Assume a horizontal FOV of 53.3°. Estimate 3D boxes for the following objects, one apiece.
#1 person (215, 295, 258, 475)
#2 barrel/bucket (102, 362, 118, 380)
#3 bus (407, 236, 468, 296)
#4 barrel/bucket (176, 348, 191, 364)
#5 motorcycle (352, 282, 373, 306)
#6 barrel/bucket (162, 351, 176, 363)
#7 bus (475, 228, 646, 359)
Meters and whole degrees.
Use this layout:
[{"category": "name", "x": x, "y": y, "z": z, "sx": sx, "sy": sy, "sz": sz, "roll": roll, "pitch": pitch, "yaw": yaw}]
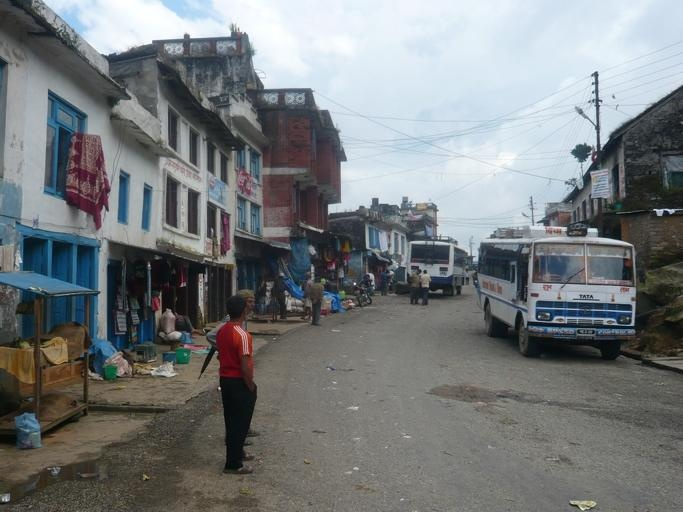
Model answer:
[{"category": "person", "x": -1.474, "y": 1.827, "z": 9.603, "sx": 0.489, "sy": 2.419, "sz": 0.581, "roll": -1, "pitch": 6, "yaw": -11}, {"category": "barrel/bucket", "x": -4.948, "y": 2.489, "z": 14.518, "sx": 0.263, "sy": 0.302, "sz": 0.275, "roll": -2, "pitch": -2, "yaw": 0}, {"category": "bus", "x": 6.084, "y": 0.692, "z": 42.622, "sx": 2.783, "sy": 3.973, "sz": 7.893, "roll": -1, "pitch": -6, "yaw": 13}, {"category": "barrel/bucket", "x": -3.863, "y": 2.462, "z": 16.561, "sx": 0.304, "sy": 0.270, "sz": 0.327, "roll": 1, "pitch": -5, "yaw": 0}, {"category": "motorcycle", "x": 1.044, "y": 2.056, "z": 34.806, "sx": 0.578, "sy": 0.820, "sz": 1.301, "roll": -12, "pitch": -10, "yaw": 10}, {"category": "barrel/bucket", "x": -4.140, "y": 2.431, "z": 16.248, "sx": 0.267, "sy": 0.234, "sz": 0.286, "roll": 1, "pitch": 5, "yaw": 0}, {"category": "bus", "x": 5.673, "y": 0.914, "z": 18.291, "sx": 2.473, "sy": 3.562, "sz": 4.733, "roll": -1, "pitch": 6, "yaw": -3}]
